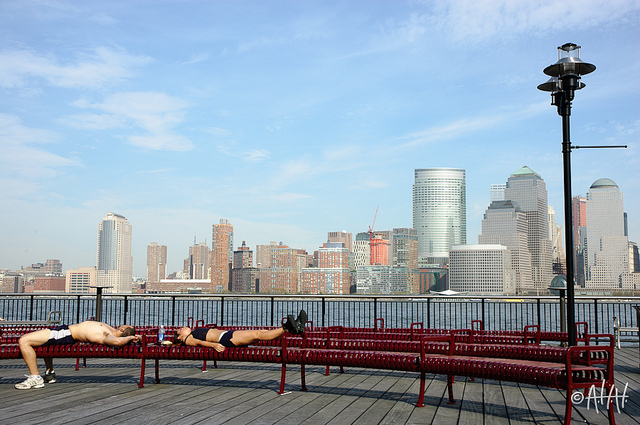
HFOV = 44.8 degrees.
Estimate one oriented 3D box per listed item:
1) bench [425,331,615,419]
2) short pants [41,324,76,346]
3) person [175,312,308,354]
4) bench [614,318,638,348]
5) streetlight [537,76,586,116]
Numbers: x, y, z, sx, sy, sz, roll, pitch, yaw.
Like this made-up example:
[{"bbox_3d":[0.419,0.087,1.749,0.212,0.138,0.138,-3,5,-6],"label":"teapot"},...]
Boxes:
[{"bbox_3d":[3.809,2.832,14.170,2.990,1.254,3.910,-2,-7,17],"label":"bench"},{"bbox_3d":[-4.754,2.234,14.095,0.558,0.168,0.342,-2,-3,0],"label":"short pants"},{"bbox_3d":[-1.389,2.277,14.227,2.413,0.509,1.045,-1,0,6],"label":"person"},{"bbox_3d":[7.618,2.975,19.355,0.451,0.738,2.581,-3,-7,20],"label":"bench"},{"bbox_3d":[4.944,-2.456,15.658,1.164,0.831,1.011,-7,5,11],"label":"streetlight"}]
